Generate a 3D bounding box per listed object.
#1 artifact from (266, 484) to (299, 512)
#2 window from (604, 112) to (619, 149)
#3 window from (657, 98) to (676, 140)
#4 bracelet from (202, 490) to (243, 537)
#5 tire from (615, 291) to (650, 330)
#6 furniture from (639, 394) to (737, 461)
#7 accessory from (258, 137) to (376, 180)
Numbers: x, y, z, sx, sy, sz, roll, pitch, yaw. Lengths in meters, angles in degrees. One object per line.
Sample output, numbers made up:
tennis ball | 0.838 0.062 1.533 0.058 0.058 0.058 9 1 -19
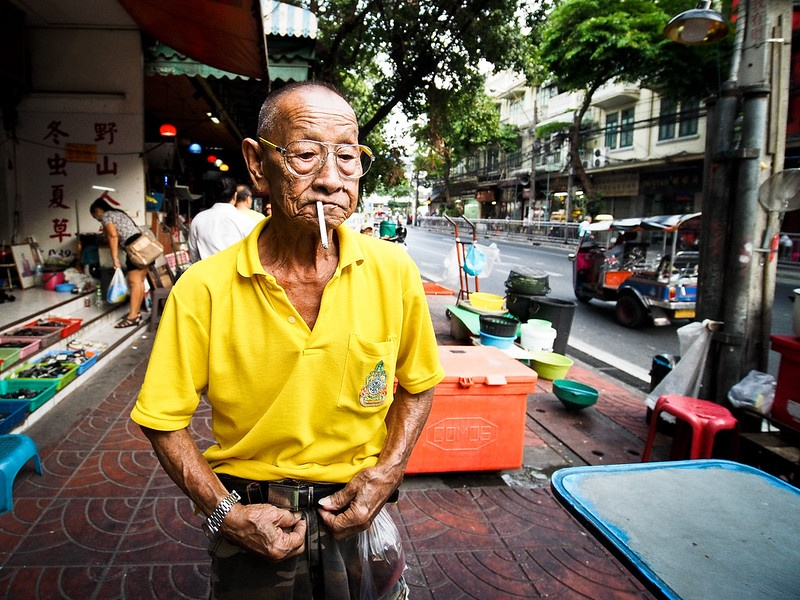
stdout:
artifact | -0.495 0.845 2.349 0.146 0.105 0.099 0 -10 21
window | 10.321 -8.262 26.971 0.629 1.223 0.094 0 17 3
window | 11.359 -7.582 23.380 0.172 1.643 0.847 -9 13 -26
bracelet | -0.729 0.883 2.274 0.096 0.152 0.161 44 7 12
tire | 4.235 0.208 10.123 0.219 0.605 0.612 -5 15 -24
furniture | 2.449 1.089 4.651 0.539 0.680 0.540 0 11 -17
accessory | -0.358 -0.600 2.362 0.479 0.163 0.180 1 10 -6
